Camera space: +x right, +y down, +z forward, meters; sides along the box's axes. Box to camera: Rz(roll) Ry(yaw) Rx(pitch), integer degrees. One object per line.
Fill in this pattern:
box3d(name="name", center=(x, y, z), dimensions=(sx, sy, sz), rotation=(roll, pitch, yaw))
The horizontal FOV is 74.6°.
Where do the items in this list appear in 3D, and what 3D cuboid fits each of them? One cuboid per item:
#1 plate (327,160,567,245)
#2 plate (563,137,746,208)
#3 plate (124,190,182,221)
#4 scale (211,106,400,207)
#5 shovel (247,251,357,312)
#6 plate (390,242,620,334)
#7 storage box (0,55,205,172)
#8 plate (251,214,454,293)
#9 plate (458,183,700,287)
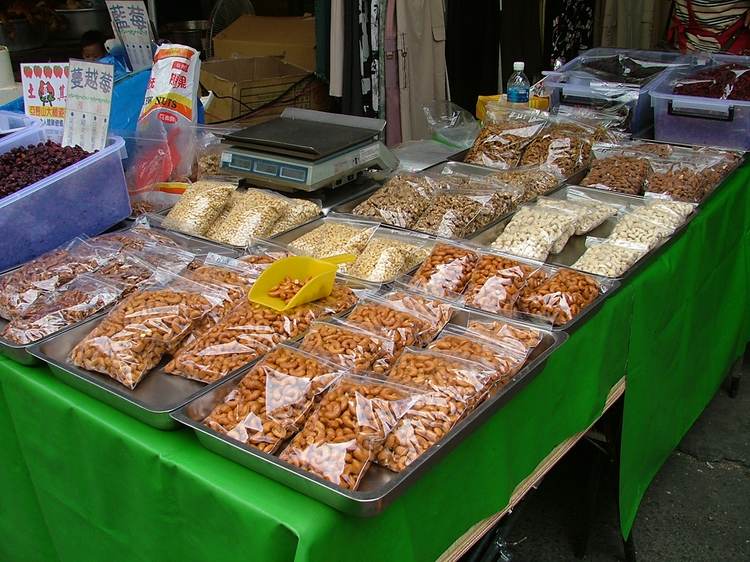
box3d(name="plate", center=(0.328, -0.346, 1.937), dimensions=(0.505, 0.146, 0.498), rotation=(-1, 24, 34))
box3d(name="plate", center=(1.224, -0.536, 2.094), dimensions=(0.467, 0.066, 0.491), rotation=(15, 37, 33))
box3d(name="plate", center=(-0.907, -0.315, 1.971), dimensions=(0.174, 0.033, 0.170), rotation=(10, 24, 16))
box3d(name="scale", center=(-0.264, -0.560, 2.076), dimensions=(0.528, 0.232, 0.607), rotation=(24, 38, 35))
box3d(name="shovel", center=(-0.206, -0.006, 1.302), dimensions=(0.122, 0.069, 0.238), rotation=(12, 17, 35))
box3d(name="plate", center=(0.360, 0.009, 1.398), dimensions=(0.454, 0.062, 0.253), rotation=(16, 37, 25))
box3d(name="storage box", center=(-1.247, -0.742, 2.183), dimensions=(0.576, 0.166, 0.423), rotation=(11, 30, 12))
box3d(name="plate", center=(-0.066, -0.113, 1.610), dimensions=(0.334, 0.045, 0.320), rotation=(14, 26, 27))
box3d(name="plate", center=(0.730, -0.177, 1.710), dimensions=(0.462, 0.056, 0.495), rotation=(14, 37, 44))
